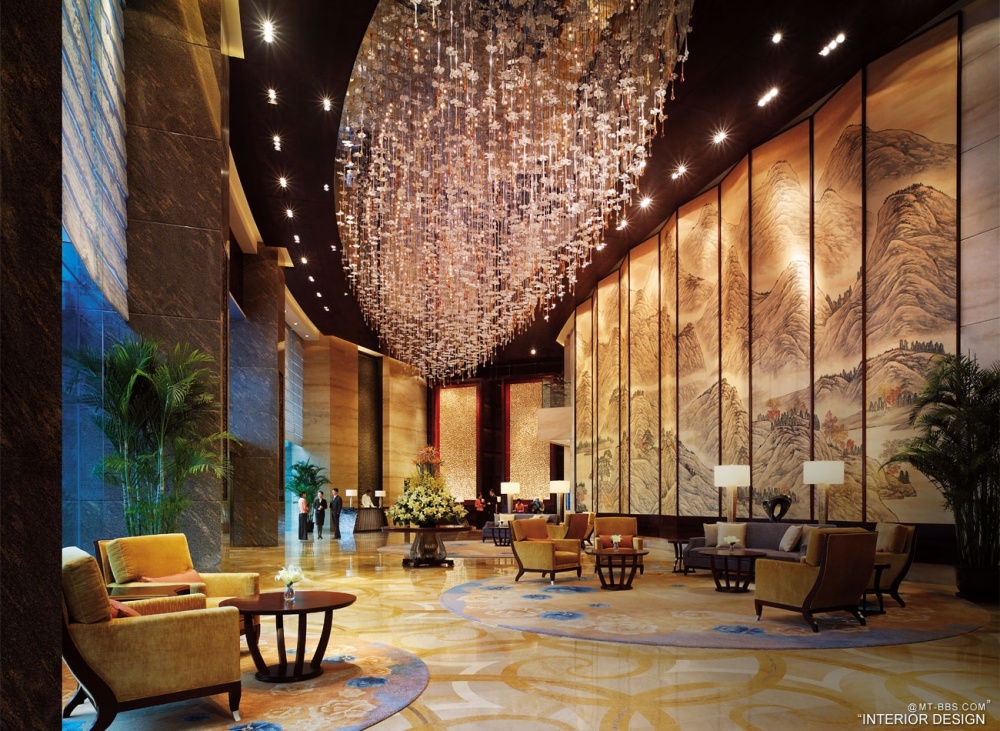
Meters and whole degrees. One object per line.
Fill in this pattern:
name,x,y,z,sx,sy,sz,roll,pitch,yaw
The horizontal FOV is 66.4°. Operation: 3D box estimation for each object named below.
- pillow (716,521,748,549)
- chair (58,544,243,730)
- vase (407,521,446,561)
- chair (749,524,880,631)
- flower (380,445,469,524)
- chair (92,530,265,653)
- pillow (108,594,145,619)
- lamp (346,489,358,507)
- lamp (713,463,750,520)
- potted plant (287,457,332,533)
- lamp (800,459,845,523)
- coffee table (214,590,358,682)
pillow,3.764,2.751,12.317,0.307,0.306,0.176,-9,-44,29
chair,-2.750,2.051,6.417,1.523,1.658,1.205,2,-4,-29
vase,-1.380,3.442,14.678,0.773,0.926,0.776,1,-10,-3
chair,3.667,2.389,8.863,0.833,1.179,0.997,2,-3,-24
flower,-1.343,2.339,14.456,1.093,1.367,1.276,-2,-2,20
chair,-3.160,2.298,7.684,1.391,1.176,1.383,-8,-11,29
pillow,-2.865,1.868,5.834,0.247,0.083,0.261,13,-10,-5
lamp,-5.205,4.660,27.021,0.468,0.673,1.274,3,-11,-11
lamp,3.833,2.073,12.621,0.545,0.956,0.552,-7,7,-33
potted plant,-6.417,4.237,25.763,1.232,1.896,1.063,-4,8,-43
lamp,4.479,1.698,10.566,0.497,0.896,0.526,0,2,-13
coffee table,-1.879,2.500,6.966,1.032,0.644,1.086,-7,-11,34
